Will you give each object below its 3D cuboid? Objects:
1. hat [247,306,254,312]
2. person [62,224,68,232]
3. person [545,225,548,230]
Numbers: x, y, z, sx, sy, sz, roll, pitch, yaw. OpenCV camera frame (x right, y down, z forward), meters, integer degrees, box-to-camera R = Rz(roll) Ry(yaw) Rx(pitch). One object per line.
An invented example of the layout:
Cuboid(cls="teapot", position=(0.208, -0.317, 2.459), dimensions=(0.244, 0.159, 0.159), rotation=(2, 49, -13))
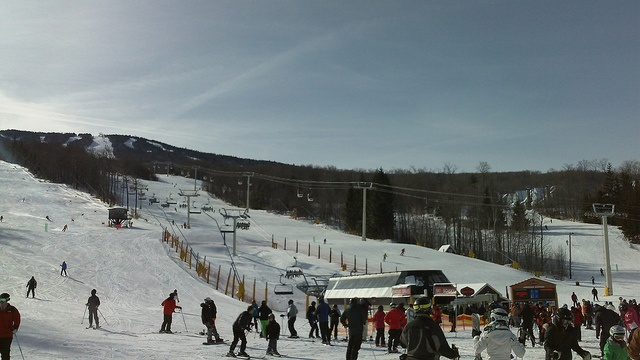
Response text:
Cuboid(cls="hat", position=(-7.922, 14.983, 76.938), dimensions=(0.659, 0.611, 1.163), rotation=(3, 3, 23))
Cuboid(cls="person", position=(-47.675, 9.010, 123.646), dimensions=(0.958, 0.435, 1.682), rotation=(1, 12, -9))
Cuboid(cls="person", position=(54.868, 11.330, 161.106), dimensions=(0.552, 1.737, 0.498), rotation=(12, -8, -35))
